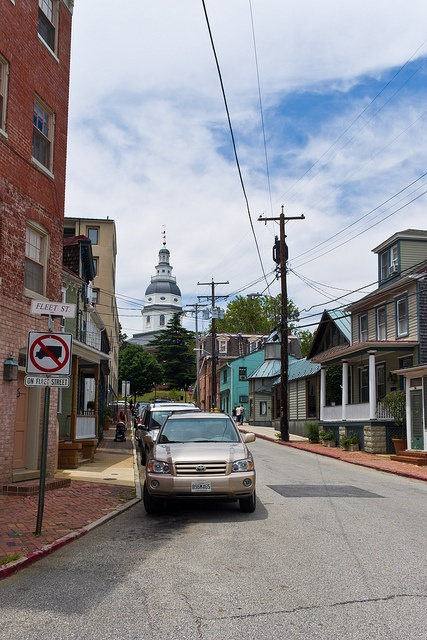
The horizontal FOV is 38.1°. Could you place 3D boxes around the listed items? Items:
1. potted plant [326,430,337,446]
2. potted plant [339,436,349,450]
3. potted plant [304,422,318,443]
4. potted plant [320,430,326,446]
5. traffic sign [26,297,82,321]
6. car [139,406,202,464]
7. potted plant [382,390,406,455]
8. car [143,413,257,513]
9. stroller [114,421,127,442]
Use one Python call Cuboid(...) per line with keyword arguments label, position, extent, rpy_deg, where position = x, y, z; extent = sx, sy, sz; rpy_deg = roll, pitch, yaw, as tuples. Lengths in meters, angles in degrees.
Cuboid(label="potted plant", position=(5.091, 5.291, 27.056), extent=(0.434, 0.607, 0.673), rpy_deg=(-2, -8, 1))
Cuboid(label="potted plant", position=(5.213, 4.961, 24.685), extent=(0.349, 0.465, 0.398), rpy_deg=(1, -8, 0))
Cuboid(label="potted plant", position=(4.836, 5.497, 29.791), extent=(0.637, 0.953, 0.819), rpy_deg=(-7, -7, 40))
Cuboid(label="potted plant", position=(5.009, 5.362, 27.752), extent=(0.370, 0.682, 0.550), rpy_deg=(0, -7, -10))
Cuboid(label="traffic sign", position=(-2.950, -0.201, 11.360), extent=(1.007, 0.554, 0.074), rpy_deg=(5, 1, -30))
Cuboid(label="car", position=(-1.333, 2.878, 16.777), extent=(1.245, 1.424, 2.757), rpy_deg=(1, -18, -7))
Cuboid(label="potted plant", position=(6.646, 3.603, 22.800), extent=(0.789, 1.770, 1.301), rpy_deg=(-3, -8, 15))
Cuboid(label="car", position=(-0.182, 2.103, 9.368), extent=(0.944, 0.935, 2.008), rpy_deg=(0, -20, -1))
Cuboid(label="stroller", position=(-4.170, 5.060, 27.600), extent=(0.471, 0.861, 0.828), rpy_deg=(0, -8, -14))
